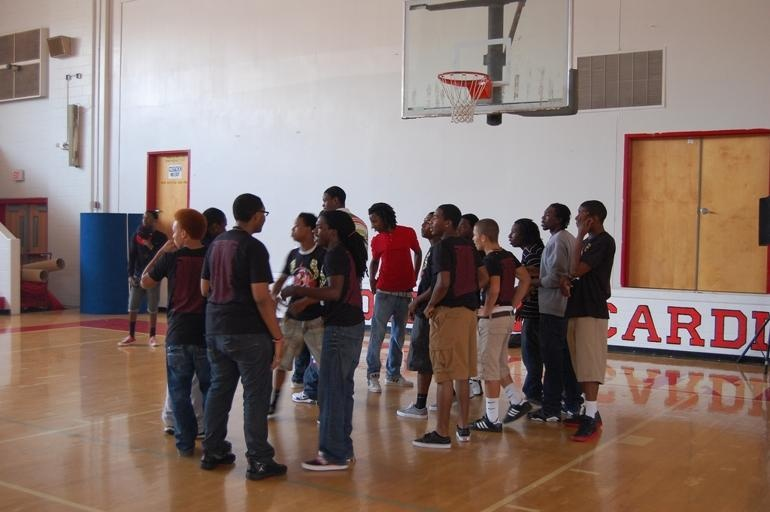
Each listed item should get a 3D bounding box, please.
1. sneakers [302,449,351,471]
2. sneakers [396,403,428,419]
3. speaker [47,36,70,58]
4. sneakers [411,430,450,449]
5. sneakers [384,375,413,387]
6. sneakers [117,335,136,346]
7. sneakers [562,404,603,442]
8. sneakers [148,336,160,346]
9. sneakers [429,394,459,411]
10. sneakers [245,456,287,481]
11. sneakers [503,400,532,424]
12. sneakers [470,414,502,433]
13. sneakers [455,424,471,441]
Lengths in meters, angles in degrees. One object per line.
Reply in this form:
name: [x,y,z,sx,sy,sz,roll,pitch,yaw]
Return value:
sneakers: [-0.532,1.855,5.687,0.459,0.185,0.171,4,-12,-6]
sneakers: [0.310,1.744,7.020,0.313,0.136,0.147,0,-8,22]
speaker: [-7.861,-5.068,15.097,0.642,0.496,0.220,3,6,25]
sneakers: [0.457,1.797,6.150,0.368,0.149,0.151,3,-8,10]
sneakers: [0.176,1.653,8.227,0.346,0.138,0.129,1,-5,3]
sneakers: [-4.375,1.430,10.437,0.390,0.173,0.134,0,-1,0]
sneakers: [2.081,1.744,6.443,0.267,0.135,0.403,-1,-5,36]
sneakers: [-3.838,1.432,10.413,0.130,0.132,0.306,0,-3,-26]
sneakers: [0.666,1.749,7.390,0.181,0.213,0.542,-5,-9,33]
sneakers: [-1.044,1.883,5.570,0.346,0.236,0.147,-1,3,-31]
sneakers: [1.472,1.725,6.852,0.254,0.118,0.086,-41,18,14]
sneakers: [1.062,1.788,6.621,0.373,0.164,0.134,2,0,27]
sneakers: [0.802,1.796,6.303,0.083,0.100,0.228,0,-2,3]
